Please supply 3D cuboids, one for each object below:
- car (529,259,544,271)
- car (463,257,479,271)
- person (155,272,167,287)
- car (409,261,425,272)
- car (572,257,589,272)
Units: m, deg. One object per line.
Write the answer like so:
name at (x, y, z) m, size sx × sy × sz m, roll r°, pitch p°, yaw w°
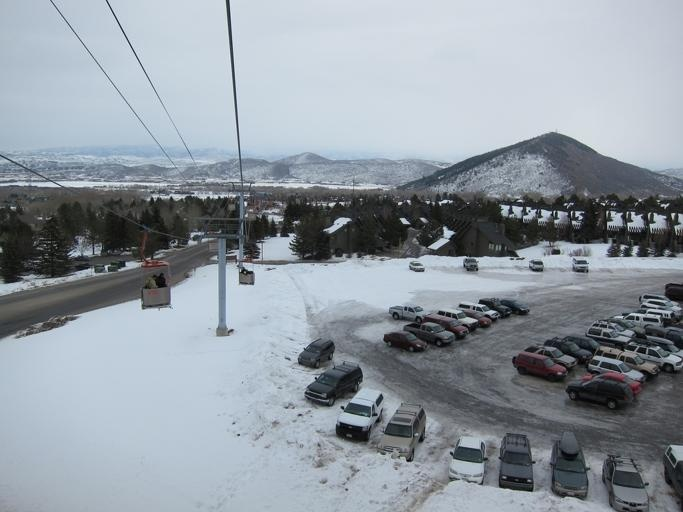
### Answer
car at (28.227, 1.385, 70.955) m, size 1.254 × 1.172 × 2.220 m, roll -1°, pitch 1°, yaw 10°
car at (18.582, 1.273, 69.859) m, size 2.003 × 1.686 × 3.300 m, roll -1°, pitch 7°, yaw 13°
person at (-12.775, 1.672, 34.236) m, size 0.560 × 1.003 × 0.981 m, roll -5°, pitch 8°, yaw -12°
car at (10.493, 1.497, 68.749) m, size 1.766 × 1.301 × 2.239 m, roll -4°, pitch 7°, yaw -5°
car at (34.719, 1.359, 71.143) m, size 1.680 × 1.574 × 2.867 m, roll -1°, pitch -2°, yaw 15°
